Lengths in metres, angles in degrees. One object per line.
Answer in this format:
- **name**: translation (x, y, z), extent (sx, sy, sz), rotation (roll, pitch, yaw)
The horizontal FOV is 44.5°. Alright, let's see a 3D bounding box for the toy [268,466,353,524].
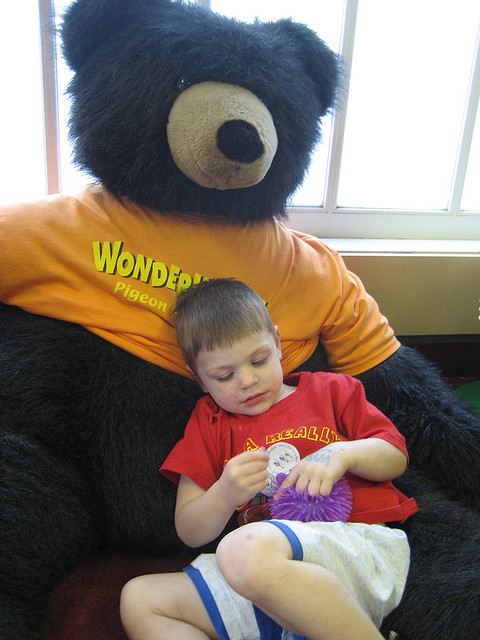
- **toy**: translation (0.092, 0.229, 0.720), extent (0.083, 0.035, 0.076), rotation (-1, 10, -3)
